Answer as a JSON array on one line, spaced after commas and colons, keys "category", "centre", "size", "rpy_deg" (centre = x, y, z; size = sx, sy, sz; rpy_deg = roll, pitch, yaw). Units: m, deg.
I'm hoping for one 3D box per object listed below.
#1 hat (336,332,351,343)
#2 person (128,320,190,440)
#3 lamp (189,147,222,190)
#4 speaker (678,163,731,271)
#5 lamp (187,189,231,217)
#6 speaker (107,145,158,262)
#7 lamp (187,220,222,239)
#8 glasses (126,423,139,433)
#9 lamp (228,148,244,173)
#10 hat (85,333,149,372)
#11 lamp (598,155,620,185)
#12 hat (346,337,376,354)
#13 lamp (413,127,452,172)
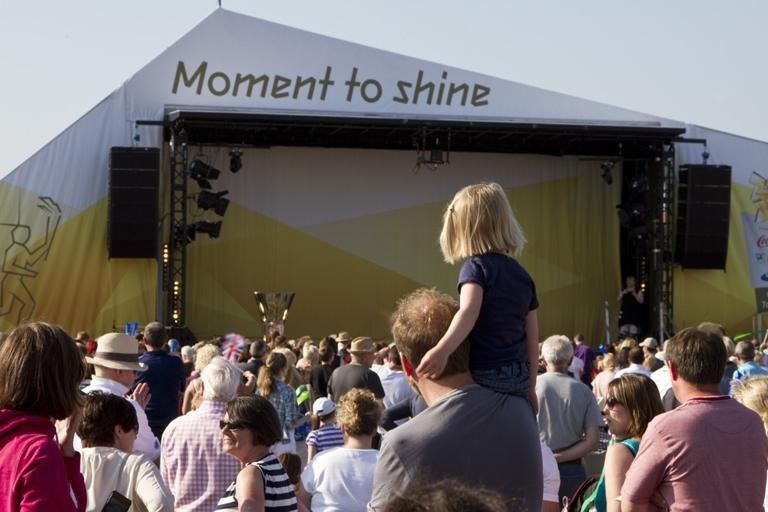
[{"category": "hat", "centre": [-0.655, 1.348, 15.940], "size": [0.322, 0.139, 0.349], "rpy_deg": [-1, 0, 2]}, {"category": "person", "centre": [-2.618, 1.815, 11.794], "size": [0.579, 2.101, 0.560], "rpy_deg": [0, 19, -1]}, {"category": "lamp", "centre": [-3.868, -1.977, 20.836], "size": [0.604, 1.037, 1.382], "rpy_deg": [3, -9, -12]}, {"category": "speaker", "centre": [6.874, -0.883, 21.041], "size": [1.130, 2.168, 0.985], "rpy_deg": [-1, -9, 14]}, {"category": "lamp", "centre": [-3.644, -1.159, 20.701], "size": [0.641, 0.677, 0.296], "rpy_deg": [8, 22, 5]}, {"category": "speaker", "centre": [-4.906, -1.045, 19.140], "size": [0.941, 2.041, 0.897], "rpy_deg": [3, -8, -12]}, {"category": "lamp", "centre": [-3.766, -0.570, 20.431], "size": [0.472, 0.316, 0.462], "rpy_deg": [1, -1, 5]}, {"category": "glasses", "centre": [-2.366, 1.615, 9.166], "size": [0.091, 0.105, 0.093], "rpy_deg": [-5, 0, -5]}, {"category": "lamp", "centre": [-3.244, -2.130, 21.367], "size": [0.282, 0.582, 0.768], "rpy_deg": [3, -9, -9]}, {"category": "hat", "centre": [-2.826, 0.991, 10.370], "size": [0.676, 0.336, 0.681], "rpy_deg": [8, 3, -18]}, {"category": "lamp", "centre": [5.333, -2.060, 22.977], "size": [0.525, 0.704, 0.200], "rpy_deg": [3, -15, -4]}, {"category": "hat", "centre": [-0.308, 1.165, 12.588], "size": [0.425, 0.278, 0.645], "rpy_deg": [0, -8, 7]}, {"category": "lamp", "centre": [1.130, -2.405, 21.642], "size": [0.824, 0.947, 0.726], "rpy_deg": [1, -3, -14]}]
